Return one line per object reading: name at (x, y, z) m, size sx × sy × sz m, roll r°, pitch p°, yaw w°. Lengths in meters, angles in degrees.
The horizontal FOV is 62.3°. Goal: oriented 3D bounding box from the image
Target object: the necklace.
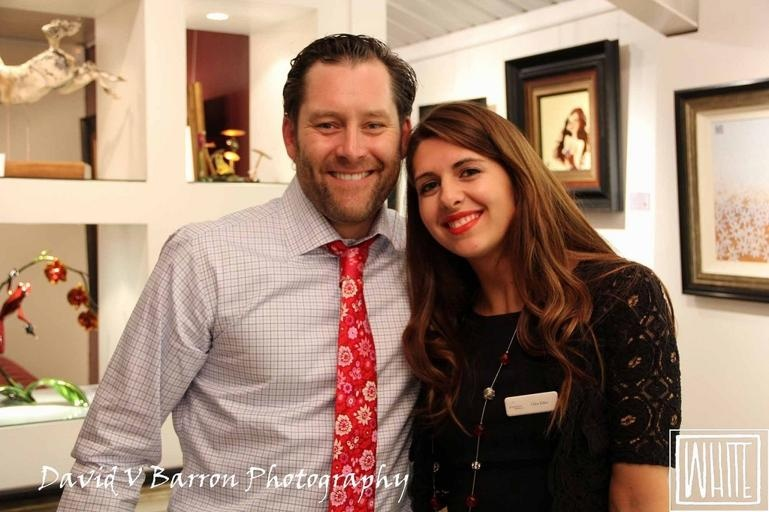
necklace at (0.338, 0.648, 2.359) m, size 0.235 × 0.835 × 0.071 m, roll 5°, pitch -12°, yaw 45°
